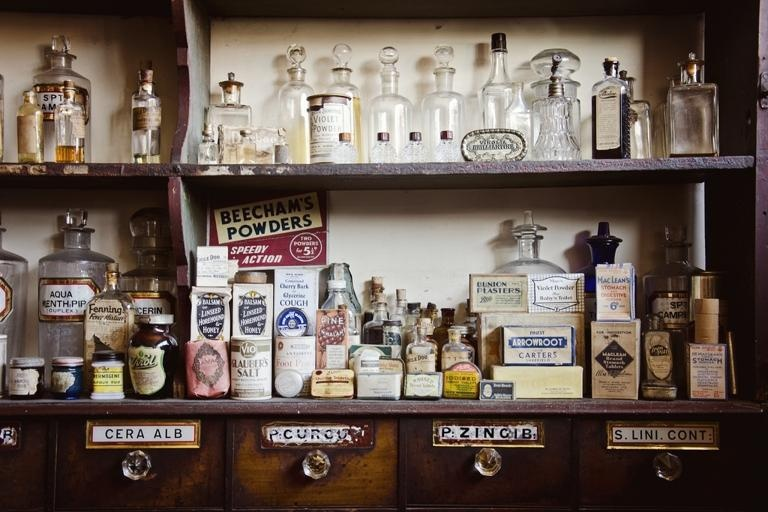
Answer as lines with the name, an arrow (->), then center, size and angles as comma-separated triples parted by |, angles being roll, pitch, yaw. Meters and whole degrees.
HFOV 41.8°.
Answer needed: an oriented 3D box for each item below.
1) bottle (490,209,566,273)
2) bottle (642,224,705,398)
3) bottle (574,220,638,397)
bottle -> 0.552, -0.016, 3.816 | 0.336, 0.294, 0.338 | -1, 5, -4
bottle -> 1.104, 0.207, 3.698 | 0.307, 0.630, 0.278 | 3, -9, -4
bottle -> 0.738, 0.234, 3.597 | 0.308, 0.638, 0.287 | 0, -3, 0
